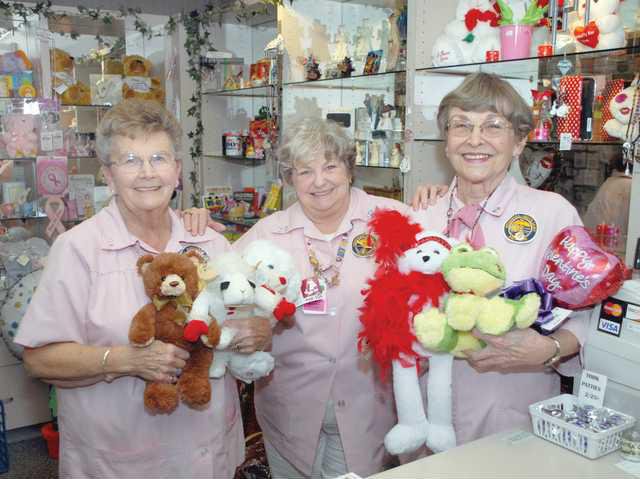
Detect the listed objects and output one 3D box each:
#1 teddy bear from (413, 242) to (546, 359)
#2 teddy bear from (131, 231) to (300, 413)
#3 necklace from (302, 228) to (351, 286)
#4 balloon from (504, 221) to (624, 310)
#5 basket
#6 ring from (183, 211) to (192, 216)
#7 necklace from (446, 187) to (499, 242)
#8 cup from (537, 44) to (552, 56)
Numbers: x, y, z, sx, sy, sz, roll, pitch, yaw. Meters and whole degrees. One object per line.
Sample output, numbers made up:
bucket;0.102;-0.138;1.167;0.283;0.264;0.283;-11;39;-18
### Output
teddy bear;0.557;0.202;1.840;0.421;0.410;0.212;-3;1;12
teddy bear;-0.375;0.343;1.916;0.322;0.652;0.635;10;17;41
necklace;0.039;0.093;2.395;0.159;0.249;0.059;-2;-30;6
balloon;0.984;0.155;1.955;0.332;0.306;0.273;18;32;21
basket;0.899;0.640;1.749;0.189;0.087;0.241;-8;5;-37
ring;-0.588;-0.116;2.204;0.025;0.008;0.025;0;14;0
necklace;0.636;-0.080;2.172;0.166;0.171;0.063;9;8;36
cup;1.213;-1.016;2.712;0.069;0.073;0.114;3;14;20
